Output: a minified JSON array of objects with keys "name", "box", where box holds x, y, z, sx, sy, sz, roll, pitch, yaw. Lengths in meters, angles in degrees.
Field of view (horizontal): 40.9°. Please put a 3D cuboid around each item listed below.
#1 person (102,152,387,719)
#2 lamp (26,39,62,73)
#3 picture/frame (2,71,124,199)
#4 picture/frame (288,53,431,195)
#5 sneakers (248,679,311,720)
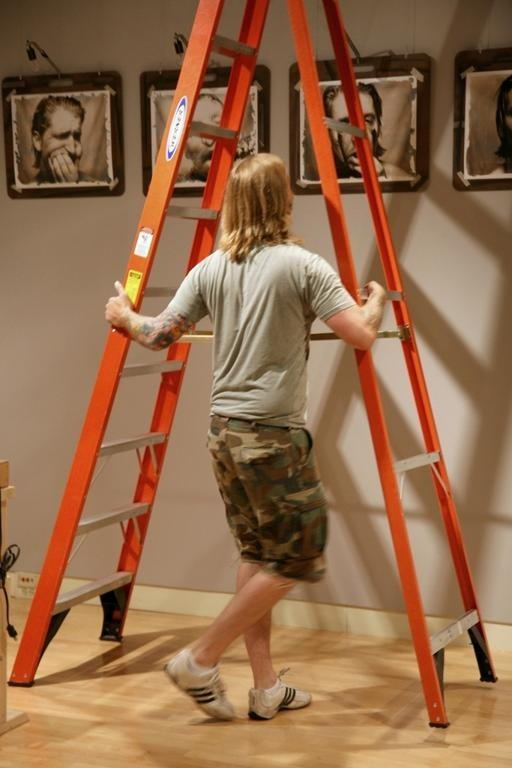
[{"name":"person","box":[-0.003,0.161,1.781,0.653,1.478,0.274,-2,-4,31]},{"name":"lamp","box":[-0.920,-1.439,3.015,0.118,0.035,0.150,-10,-25,-8]},{"name":"picture/frame","box":[-0.820,-1.105,3.005,0.617,0.589,0.051,1,9,17]},{"name":"picture/frame","box":[0.379,-0.963,2.577,0.527,0.480,0.045,-2,13,-1]},{"name":"sneakers","box":[0.066,0.912,2.038,0.220,0.094,0.073,-1,1,-44]}]
